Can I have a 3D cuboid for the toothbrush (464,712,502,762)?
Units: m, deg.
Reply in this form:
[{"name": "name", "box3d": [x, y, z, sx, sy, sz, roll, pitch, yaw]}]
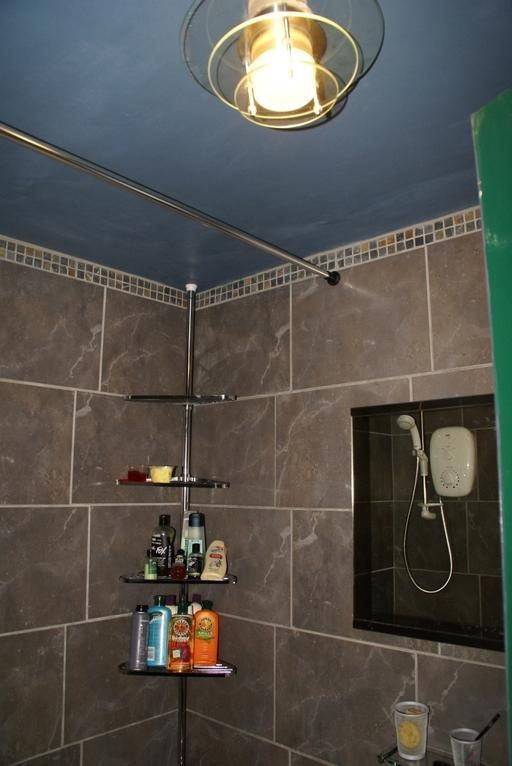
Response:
[{"name": "toothbrush", "box3d": [0.526, 0.851, 1.362, 0.114, 0.106, 0.064, -21, -32, 36]}]
